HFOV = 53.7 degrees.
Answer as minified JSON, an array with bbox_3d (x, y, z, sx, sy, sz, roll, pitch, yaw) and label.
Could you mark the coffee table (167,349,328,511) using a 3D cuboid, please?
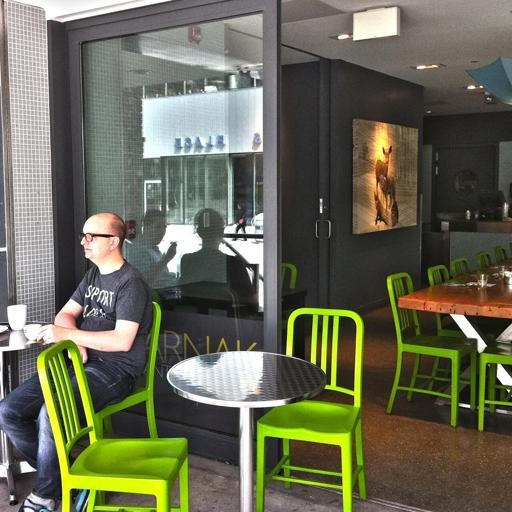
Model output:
[{"bbox_3d":[-0.031,0.527,1.850,0.551,0.588,0.541,0,3,2],"label":"coffee table"}]
